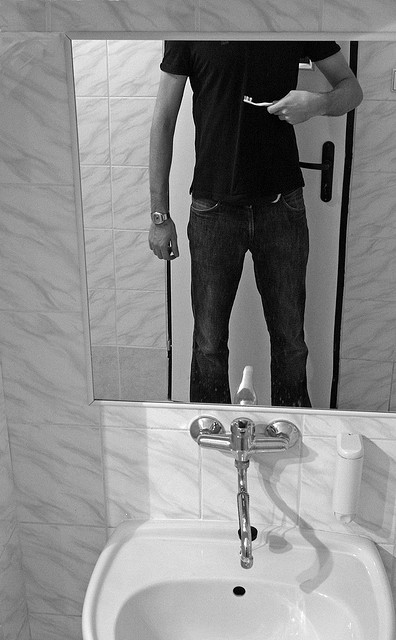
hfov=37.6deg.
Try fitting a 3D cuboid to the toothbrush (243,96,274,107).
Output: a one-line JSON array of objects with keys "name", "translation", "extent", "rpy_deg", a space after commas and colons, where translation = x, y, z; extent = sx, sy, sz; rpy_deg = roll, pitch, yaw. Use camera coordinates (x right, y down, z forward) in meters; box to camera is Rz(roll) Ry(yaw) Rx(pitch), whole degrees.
[{"name": "toothbrush", "translation": [0.096, -0.371, 0.984], "extent": [0.032, 0.022, 0.010], "rpy_deg": [4, -93, 1]}]

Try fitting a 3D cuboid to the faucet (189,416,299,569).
[{"name": "faucet", "translation": [0.080, 0.282, 1.021], "extent": [0.180, 0.291, 0.092], "rpy_deg": [2, -46, 0]}]

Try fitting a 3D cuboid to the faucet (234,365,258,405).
[{"name": "faucet", "translation": [0.095, 0.142, 1.130], "extent": [0.036, 0.097, 0.042], "rpy_deg": [16, -32, -10]}]
